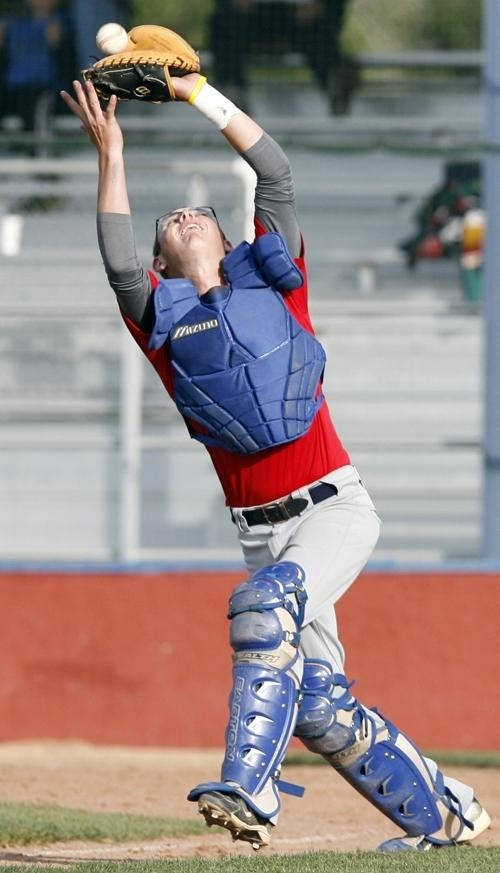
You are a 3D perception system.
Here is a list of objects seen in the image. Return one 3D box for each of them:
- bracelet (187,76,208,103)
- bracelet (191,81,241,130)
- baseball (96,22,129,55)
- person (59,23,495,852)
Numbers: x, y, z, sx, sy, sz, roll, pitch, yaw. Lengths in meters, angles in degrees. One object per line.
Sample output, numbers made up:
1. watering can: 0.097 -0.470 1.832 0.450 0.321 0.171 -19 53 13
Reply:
1. bracelet: -0.172 -1.159 5.314 0.021 0.079 0.078 21 -26 -13
2. bracelet: -0.118 -1.104 5.366 0.187 0.126 0.074 42 -9 -7
3. baseball: -0.442 -1.316 5.306 0.101 0.119 0.105 0 1 8
4. person: -0.025 0.092 5.305 0.651 3.005 1.097 -1 9 44
